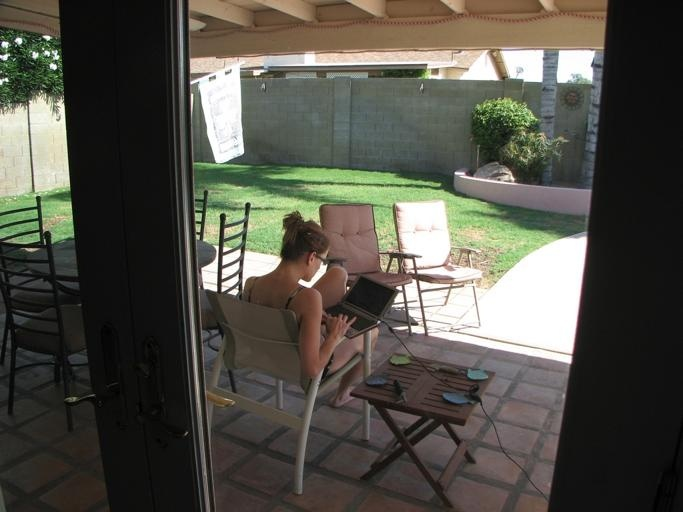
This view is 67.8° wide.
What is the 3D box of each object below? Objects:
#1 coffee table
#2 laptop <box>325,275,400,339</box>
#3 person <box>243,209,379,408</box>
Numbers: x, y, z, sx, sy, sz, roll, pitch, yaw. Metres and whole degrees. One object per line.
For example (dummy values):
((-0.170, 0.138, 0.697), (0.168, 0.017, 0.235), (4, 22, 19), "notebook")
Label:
((0.435, 1.004, 2.912), (0.717, 0.588, 0.731), (7, 21, 24), "coffee table")
((0.128, 0.303, 3.050), (0.335, 0.307, 0.210), (25, 6, 25), "laptop")
((-0.149, 0.435, 3.009), (0.584, 1.412, 0.826), (7, 19, 24), "person")
